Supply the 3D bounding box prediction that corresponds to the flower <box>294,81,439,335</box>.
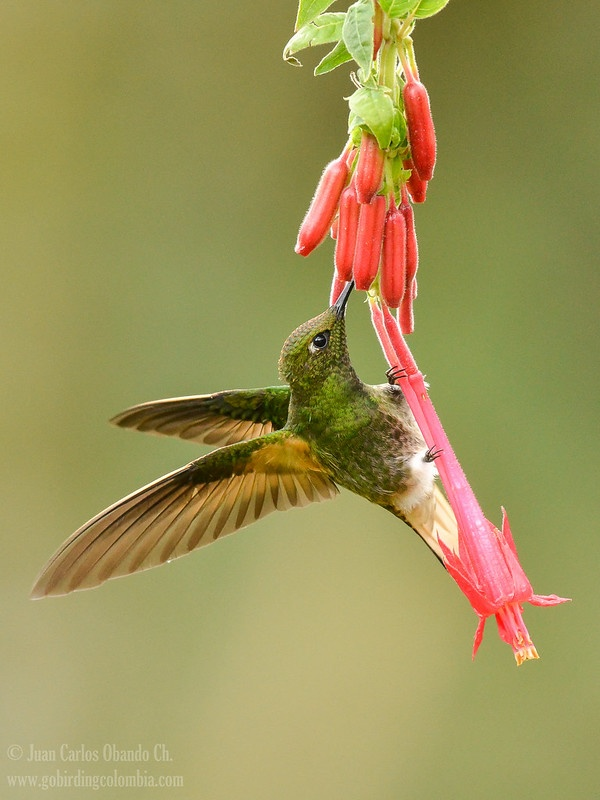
[{"bbox_3d":[0.105,-0.270,1.326,0.190,0.350,0.189,22,24,16],"label":"flower"}]
